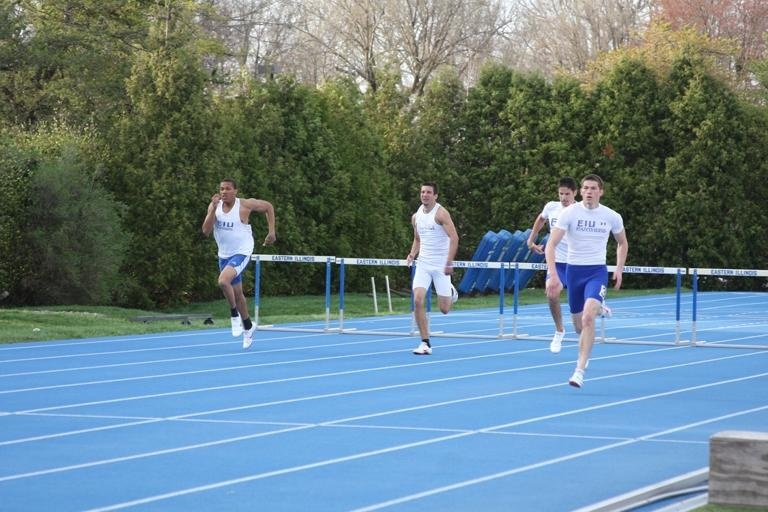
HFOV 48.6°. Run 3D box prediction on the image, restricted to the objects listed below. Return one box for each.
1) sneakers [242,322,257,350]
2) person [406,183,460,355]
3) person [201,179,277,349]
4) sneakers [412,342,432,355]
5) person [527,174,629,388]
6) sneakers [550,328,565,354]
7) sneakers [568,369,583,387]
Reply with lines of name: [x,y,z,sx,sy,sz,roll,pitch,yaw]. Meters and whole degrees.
sneakers: [-2.196,1.311,13.809,0.144,0.452,0.194,0,-18,41]
person: [0.737,0.213,13.321,0.747,2.732,1.194,0,2,0]
person: [-2.289,0.157,13.460,1.092,2.714,1.342,0,2,-11]
sneakers: [0.625,1.479,13.473,0.135,0.173,0.365,-6,-9,44]
person: [2.593,0.325,11.039,0.894,2.740,1.289,1,2,36]
sneakers: [2.747,1.374,13.482,0.160,0.480,0.202,4,-26,29]
sneakers: [2.382,1.527,10.553,0.116,0.230,0.190,1,2,28]
